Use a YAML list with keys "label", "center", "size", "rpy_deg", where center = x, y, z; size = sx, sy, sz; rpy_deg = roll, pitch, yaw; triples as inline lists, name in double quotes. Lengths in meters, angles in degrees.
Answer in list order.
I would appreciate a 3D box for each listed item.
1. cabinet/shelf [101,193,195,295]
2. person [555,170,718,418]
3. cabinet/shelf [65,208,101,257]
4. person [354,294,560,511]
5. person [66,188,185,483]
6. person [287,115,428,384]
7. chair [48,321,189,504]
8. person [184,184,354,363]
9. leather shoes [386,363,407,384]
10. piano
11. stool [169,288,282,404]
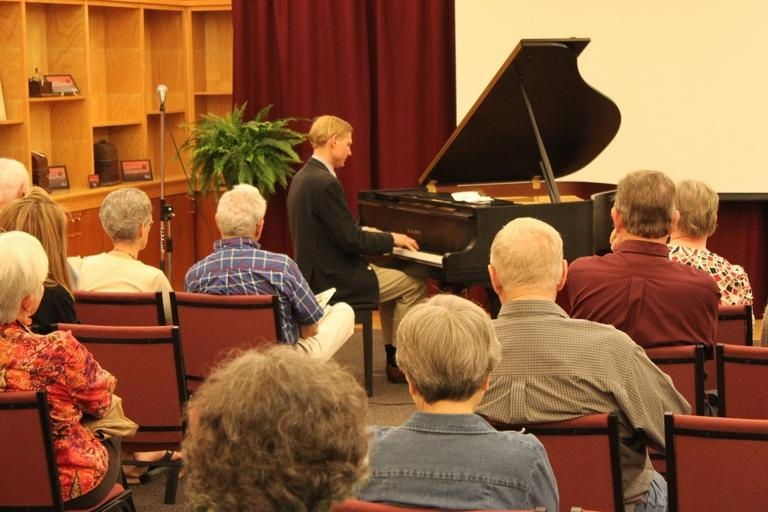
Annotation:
- label: "cabinet/shelf"
  center: [-1.539, -0.095, 5.180]
  size: [0.713, 0.729, 0.357]
  rpy_deg: [8, 21, 19]
- label: "person"
  center: [1.149, 0.077, 3.868]
  size: [0.869, 1.393, 0.906]
  rpy_deg: [2, 5, 14]
- label: "cabinet/shelf"
  center: [-2.335, -0.187, 6.137]
  size: [0.206, 0.380, 0.393]
  rpy_deg: [-1, 0, 30]
- label: "person"
  center: [0.259, 0.496, 2.672]
  size: [0.857, 0.815, 0.440]
  rpy_deg: [0, 2, 2]
- label: "person"
  center: [-1.234, 0.300, 4.064]
  size: [0.555, 1.142, 0.417]
  rpy_deg: [0, -5, 43]
- label: "person"
  center: [-0.237, -0.033, 5.653]
  size: [1.021, 1.848, 0.862]
  rpy_deg: [2, 7, -2]
- label: "chair"
  center: [-1.325, 0.578, 3.598]
  size: [0.492, 0.888, 0.618]
  rpy_deg: [1, 7, 5]
- label: "person"
  center: [-0.656, 0.164, 4.393]
  size: [0.846, 1.079, 0.757]
  rpy_deg: [-2, 7, 10]
- label: "leather shoes"
  center: [0.095, 0.805, 5.579]
  size: [0.145, 0.138, 0.321]
  rpy_deg: [1, -5, -22]
- label: "piano"
  center: [0.955, -0.681, 5.946]
  size: [2.149, 1.863, 1.196]
  rpy_deg: [-7, 9, -36]
- label: "stool"
  center: [-0.734, 0.420, 3.957]
  size: [0.461, 0.822, 0.547]
  rpy_deg: [1, 7, 7]
